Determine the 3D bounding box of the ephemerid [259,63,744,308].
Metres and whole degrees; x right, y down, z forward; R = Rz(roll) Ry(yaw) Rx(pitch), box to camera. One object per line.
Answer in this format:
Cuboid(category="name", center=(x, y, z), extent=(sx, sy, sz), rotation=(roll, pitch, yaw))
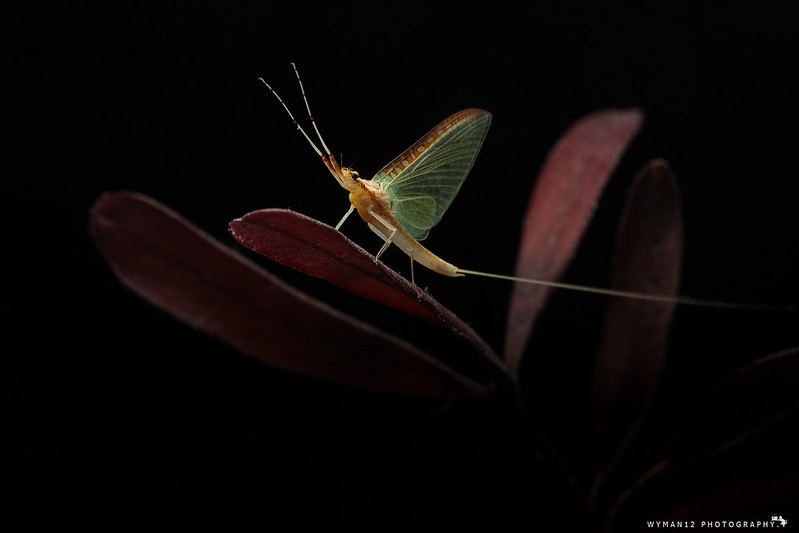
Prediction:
Cuboid(category="ephemerid", center=(0.185, -0.168, 1.400), extent=(0.722, 0.475, 0.281), rotation=(20, 58, 6))
